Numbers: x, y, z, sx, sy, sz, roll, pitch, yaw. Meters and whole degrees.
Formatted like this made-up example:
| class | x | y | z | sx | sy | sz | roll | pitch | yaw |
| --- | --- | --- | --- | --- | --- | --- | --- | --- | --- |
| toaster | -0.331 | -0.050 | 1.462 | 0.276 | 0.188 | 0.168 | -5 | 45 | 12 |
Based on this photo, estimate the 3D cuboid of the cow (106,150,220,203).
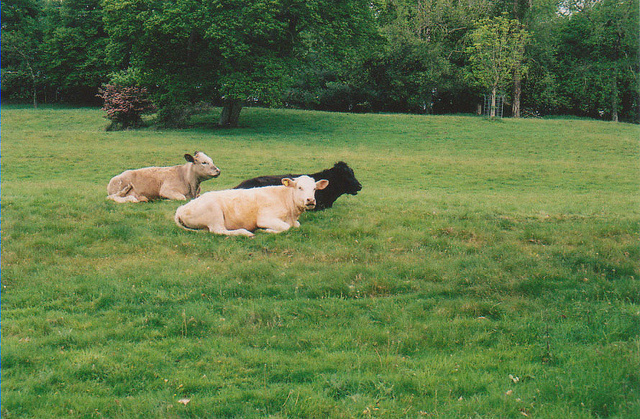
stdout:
| class | x | y | z | sx | sy | sz | roll | pitch | yaw |
| --- | --- | --- | --- | --- | --- | --- | --- | --- | --- |
| cow | -7.002 | -1.217 | 35.457 | 4.354 | 2.107 | 2.429 | -7 | 14 | -5 |

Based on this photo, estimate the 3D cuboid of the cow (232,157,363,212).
| class | x | y | z | sx | sy | sz | roll | pitch | yaw |
| --- | --- | --- | --- | --- | --- | --- | --- | --- | --- |
| cow | -1.114 | -1.126 | 35.436 | 6.101 | 3.338 | 2.317 | -5 | 30 | -10 |
